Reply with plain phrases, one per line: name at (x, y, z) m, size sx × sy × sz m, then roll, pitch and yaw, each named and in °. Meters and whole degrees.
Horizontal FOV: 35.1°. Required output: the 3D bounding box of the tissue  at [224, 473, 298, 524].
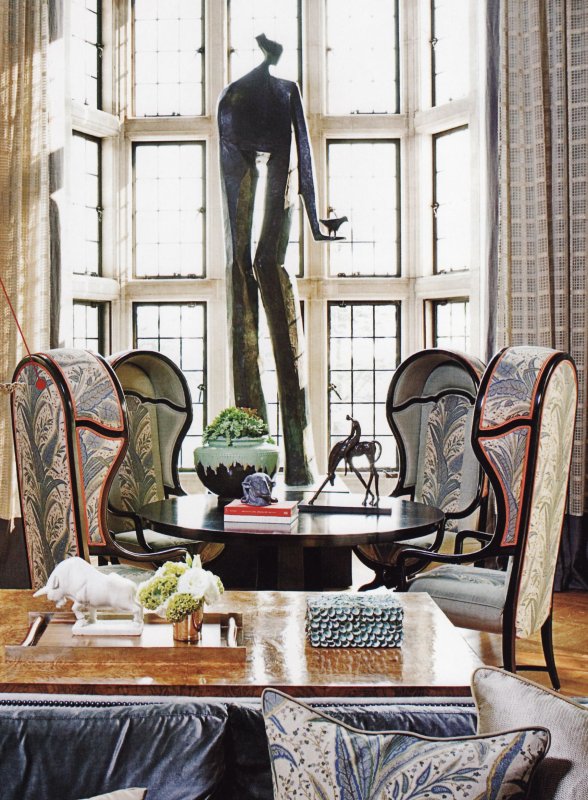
tissue  at (-0.117, 0.359, 3.211) m, size 0.173 × 0.130 × 0.184 m, roll 1°, pitch -5°, yaw 5°

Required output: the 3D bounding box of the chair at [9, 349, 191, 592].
chair at (-0.709, 0.220, 2.991) m, size 0.512 × 0.752 × 0.347 m, roll 4°, pitch 8°, yaw 29°

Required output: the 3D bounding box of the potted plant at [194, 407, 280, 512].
potted plant at (-0.231, 0.234, 3.655) m, size 0.321 × 0.434 × 0.330 m, roll -3°, pitch -4°, yaw 43°

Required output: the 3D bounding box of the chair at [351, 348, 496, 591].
chair at (0.602, 0.363, 4.284) m, size 0.502 × 1.112 × 0.507 m, roll 10°, pitch 6°, yaw 37°
